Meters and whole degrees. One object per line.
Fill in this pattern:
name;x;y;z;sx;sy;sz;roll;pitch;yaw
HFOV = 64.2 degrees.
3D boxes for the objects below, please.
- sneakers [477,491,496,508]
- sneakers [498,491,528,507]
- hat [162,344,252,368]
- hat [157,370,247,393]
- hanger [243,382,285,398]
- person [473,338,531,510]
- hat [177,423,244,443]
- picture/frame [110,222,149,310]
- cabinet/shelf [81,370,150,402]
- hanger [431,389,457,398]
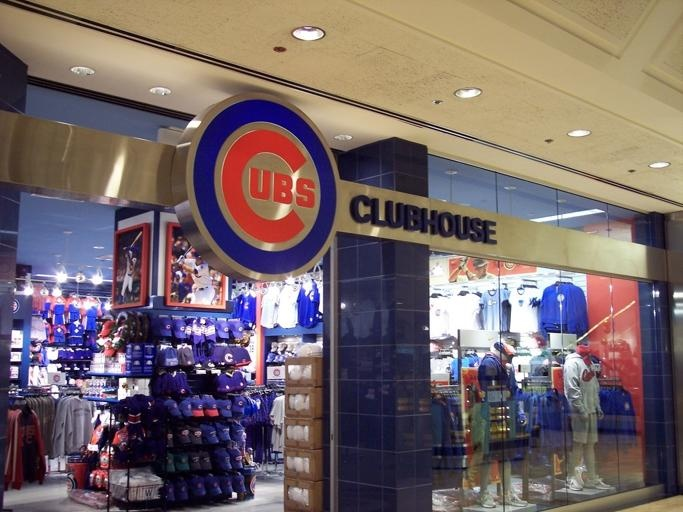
sneakers;1.653;2.778;6.201;0.114;0.117;0.273;3;-22;-4
sneakers;2.034;2.868;6.443;0.362;0.161;0.145;5;-11;-15
hat;-1.937;1.413;7.807;0.329;0.345;1.365;-9;-13;41
hat;-1.982;1.788;7.713;1.287;0.345;0.395;10;-14;-42
hanger;-1.239;2.189;8.903;0.720;0.212;0.500;3;-7;-27
person;1.835;1.966;6.388;0.726;1.890;0.163;9;-14;-41
hat;-1.811;2.428;7.418;0.588;0.185;0.378;2;-9;2
picture/frame;-3.125;0.154;8.110;0.073;1.395;1.221;11;-14;-41
cabinet/shelf;-3.202;1.858;7.709;1.459;0.456;0.418;-9;-14;43
hanger;1.138;1.487;5.942;0.392;0.096;0.034;8;-13;-38
